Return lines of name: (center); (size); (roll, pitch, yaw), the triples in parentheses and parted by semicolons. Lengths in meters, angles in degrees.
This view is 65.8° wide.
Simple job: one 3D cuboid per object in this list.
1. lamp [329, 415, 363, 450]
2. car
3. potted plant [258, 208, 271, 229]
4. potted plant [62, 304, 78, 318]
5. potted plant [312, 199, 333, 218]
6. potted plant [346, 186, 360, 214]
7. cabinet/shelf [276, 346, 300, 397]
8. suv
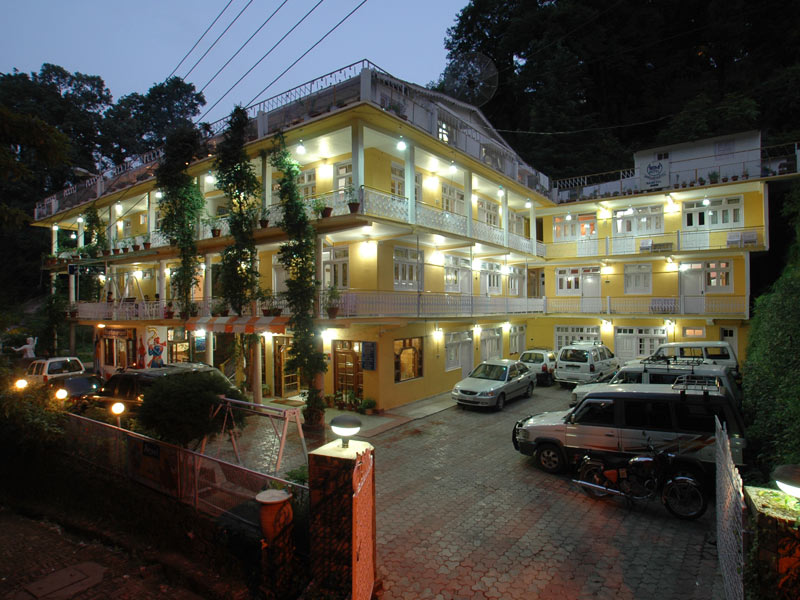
lamp: (-1.251, 3.082, 14.477); (0.801, 0.777, 0.786); (1, -4, -3)
car: (-9.713, 3.898, 21.179); (8.198, 2.694, 3.571); (3, -1, 22)
potted plant: (-5.660, -3.383, 25.769); (0.452, 0.909, 0.613); (0, -4, -12)
potted plant: (-18.771, 0.774, 34.858); (1.016, 0.970, 0.831); (0, 5, -14)
potted plant: (-3.113, -3.574, 24.418); (0.864, 0.806, 0.791); (2, 4, 18)
potted plant: (-1.760, -3.756, 23.502); (0.475, 1.160, 0.782); (-1, -4, -4)
cabinet/shelf: (-5.191, 3.226, 28.160); (0.963, 2.328, 0.726); (0, -3, -14)
suv: (7.010, 3.392, 19.431); (6.482, 3.210, 3.649); (1, 0, 21)
